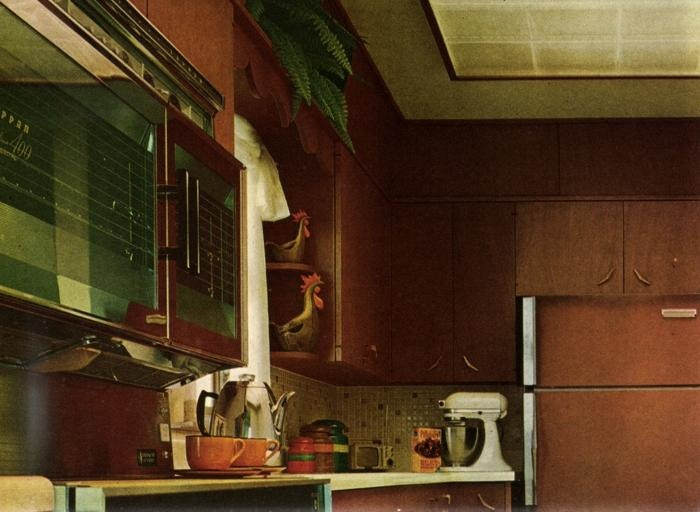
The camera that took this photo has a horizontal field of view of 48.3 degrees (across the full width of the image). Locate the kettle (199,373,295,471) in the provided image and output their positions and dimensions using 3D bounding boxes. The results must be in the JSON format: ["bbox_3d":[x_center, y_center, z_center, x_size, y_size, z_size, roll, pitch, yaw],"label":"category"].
[{"bbox_3d":[-0.270,0.440,2.057,0.307,0.276,0.205,0,-8,-5],"label":"kettle"}]

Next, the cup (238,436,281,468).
[{"bbox_3d":[-0.217,0.461,1.841,0.106,0.046,0.069,1,-9,-10],"label":"cup"}]

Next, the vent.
[{"bbox_3d":[-0.432,0.220,1.543,0.181,0.064,0.401,-5,-15,17],"label":"vent"}]

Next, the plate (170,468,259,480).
[{"bbox_3d":[-0.275,0.474,1.703,0.099,0.019,0.309,-8,-16,26],"label":"plate"}]

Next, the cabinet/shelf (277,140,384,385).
[{"bbox_3d":[-0.092,0.016,3.127,0.331,0.919,1.027,-2,-11,8],"label":"cabinet/shelf"}]

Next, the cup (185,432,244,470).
[{"bbox_3d":[-0.294,0.435,1.721,0.092,0.074,0.185,-7,-16,24],"label":"cup"}]

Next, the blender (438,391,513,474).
[{"bbox_3d":[0.600,0.769,3.424,0.435,0.441,0.234,1,-10,7],"label":"blender"}]
